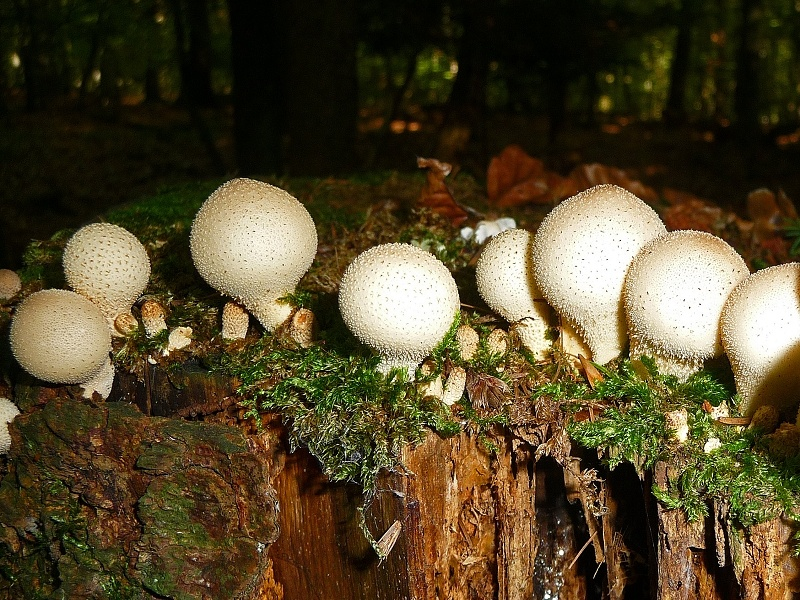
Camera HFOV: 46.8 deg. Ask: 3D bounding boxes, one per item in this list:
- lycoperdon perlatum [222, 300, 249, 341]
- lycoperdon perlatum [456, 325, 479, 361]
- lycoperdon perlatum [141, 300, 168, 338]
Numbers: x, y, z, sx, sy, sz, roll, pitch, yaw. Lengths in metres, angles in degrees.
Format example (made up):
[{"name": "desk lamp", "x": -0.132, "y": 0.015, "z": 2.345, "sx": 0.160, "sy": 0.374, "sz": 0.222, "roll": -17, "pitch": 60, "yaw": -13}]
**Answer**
[{"name": "lycoperdon perlatum", "x": -0.846, "y": 0.119, "z": 4.686, "sx": 0.104, "sy": 0.183, "sz": 0.132, "roll": 8, "pitch": -5, "yaw": 41}, {"name": "lycoperdon perlatum", "x": 0.330, "y": 0.205, "z": 4.427, "sx": 0.106, "sy": 0.160, "sz": 0.055, "roll": -1, "pitch": 3, "yaw": -23}, {"name": "lycoperdon perlatum", "x": -1.247, "y": 0.092, "z": 4.710, "sx": 0.105, "sy": 0.190, "sz": 0.079, "roll": -3, "pitch": 8, "yaw": 13}]
